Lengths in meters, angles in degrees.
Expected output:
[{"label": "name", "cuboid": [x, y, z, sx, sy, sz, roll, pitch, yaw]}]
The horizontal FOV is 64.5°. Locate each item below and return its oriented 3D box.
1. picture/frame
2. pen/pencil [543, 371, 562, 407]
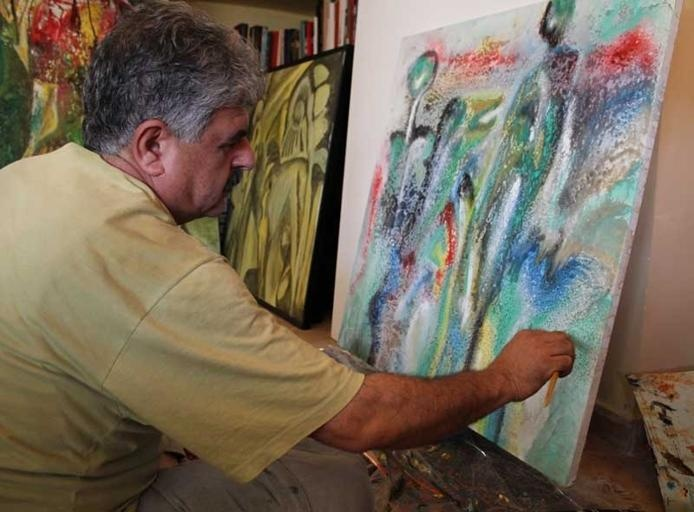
[{"label": "picture/frame", "cuboid": [-0.419, -0.475, 3.519, 0.155, 1.473, 1.759, 3, 6, -25]}, {"label": "pen/pencil", "cuboid": [0.609, 0.402, 1.642, 0.017, 0.136, 0.019, 19, 10, -20]}]
